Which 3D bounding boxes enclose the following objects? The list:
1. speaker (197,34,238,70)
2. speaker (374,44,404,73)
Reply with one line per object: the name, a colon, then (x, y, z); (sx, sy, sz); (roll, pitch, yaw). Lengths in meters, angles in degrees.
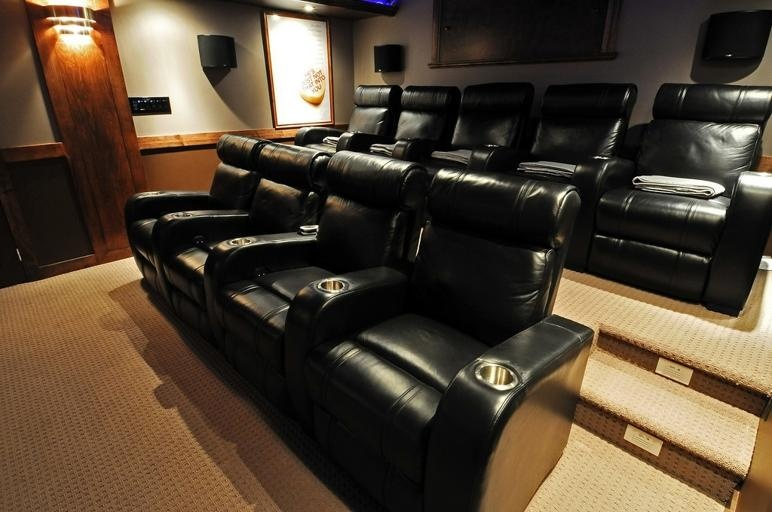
speaker: (-1.858, -2.243, 5.375); (0.372, 0.296, 0.390); (6, 22, 18)
speaker: (0.037, -2.544, 6.181); (0.316, 0.279, 0.175); (9, 20, 32)
